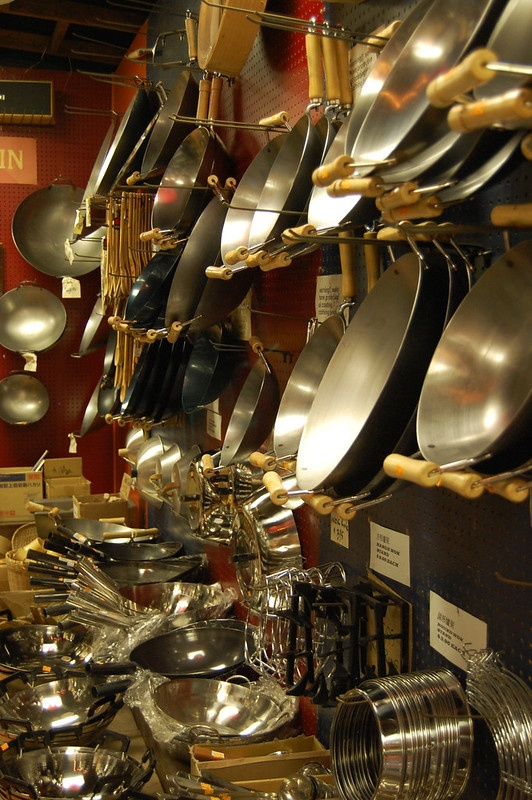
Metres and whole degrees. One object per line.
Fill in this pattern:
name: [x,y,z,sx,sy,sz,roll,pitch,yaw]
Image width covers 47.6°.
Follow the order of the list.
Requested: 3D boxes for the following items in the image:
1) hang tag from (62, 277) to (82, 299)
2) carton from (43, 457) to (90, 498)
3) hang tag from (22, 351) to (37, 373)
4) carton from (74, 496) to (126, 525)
hang tag: [-1.279,-0.730,3.966,0.131,0.140,0.215,4,-7,-20]
carton: [-1.208,0.403,3.663,0.289,0.302,0.291,-1,2,-16]
hang tag: [-1.521,-0.245,3.898,0.093,0.121,0.231,4,-7,-22]
carton: [-0.818,0.532,2.983,0.169,0.116,0.173,4,-4,-21]
